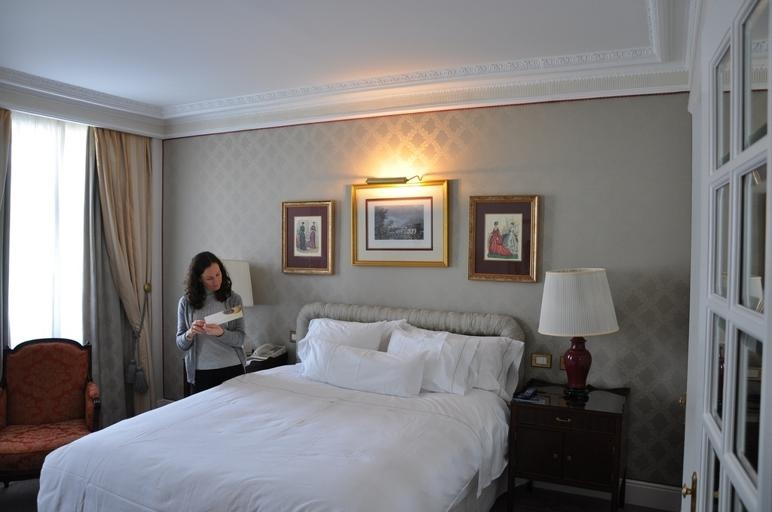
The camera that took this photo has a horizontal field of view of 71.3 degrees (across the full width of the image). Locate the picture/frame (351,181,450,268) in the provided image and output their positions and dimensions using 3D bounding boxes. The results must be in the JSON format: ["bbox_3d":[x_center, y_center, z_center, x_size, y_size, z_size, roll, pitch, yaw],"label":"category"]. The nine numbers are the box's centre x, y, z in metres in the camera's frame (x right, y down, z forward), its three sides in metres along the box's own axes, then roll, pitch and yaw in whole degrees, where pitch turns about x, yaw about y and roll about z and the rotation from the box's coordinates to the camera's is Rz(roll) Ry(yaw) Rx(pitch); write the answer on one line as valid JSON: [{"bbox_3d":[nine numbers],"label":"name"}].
[{"bbox_3d":[0.185,-0.334,5.503,0.852,0.757,0.068,0,0,20],"label":"picture/frame"}]

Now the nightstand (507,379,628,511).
[{"bbox_3d":[1.466,1.444,4.807,1.050,1.261,0.944,-1,-5,21],"label":"nightstand"}]

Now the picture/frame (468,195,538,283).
[{"bbox_3d":[1.134,-0.180,5.129,0.793,1.108,0.115,1,1,26],"label":"picture/frame"}]
